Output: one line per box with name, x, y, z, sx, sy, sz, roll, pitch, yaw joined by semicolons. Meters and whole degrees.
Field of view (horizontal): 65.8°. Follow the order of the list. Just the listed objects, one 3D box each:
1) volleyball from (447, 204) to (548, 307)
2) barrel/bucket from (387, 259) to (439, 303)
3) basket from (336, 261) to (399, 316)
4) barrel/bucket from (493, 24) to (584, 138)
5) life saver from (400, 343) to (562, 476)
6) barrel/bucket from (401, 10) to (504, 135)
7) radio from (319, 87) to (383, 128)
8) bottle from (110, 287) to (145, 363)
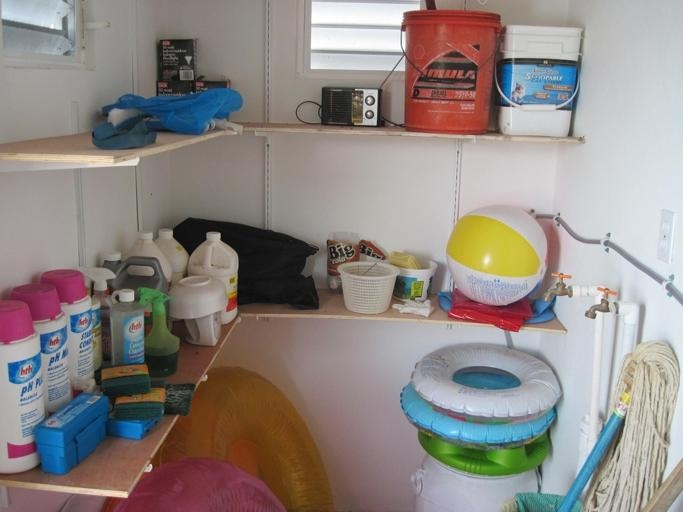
volleyball;0.623;-0.016;2.188;0.320;0.425;0.314;3;15;0
barrel/bucket;0.311;0.103;2.344;0.158;0.176;0.144;3;16;-1
basket;0.112;0.127;2.277;0.270;0.172;0.247;10;20;26
barrel/bucket;0.764;-0.690;2.145;0.294;0.447;0.257;3;18;3
life saver;0.596;0.676;2.246;0.651;0.438;0.479;-6;19;-21
barrel/bucket;0.417;-0.711;2.051;0.378;0.446;0.181;3;17;7
radio;0.032;-0.604;2.135;0.249;0.176;0.149;3;9;5
bottle;-0.609;0.205;1.507;0.086;0.220;0.088;5;15;-1
